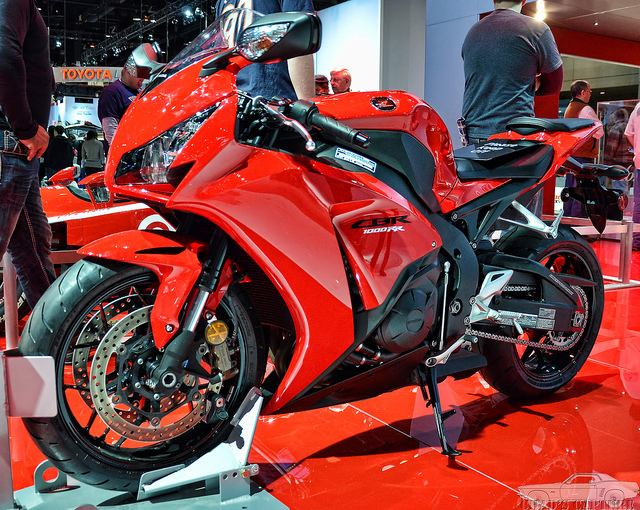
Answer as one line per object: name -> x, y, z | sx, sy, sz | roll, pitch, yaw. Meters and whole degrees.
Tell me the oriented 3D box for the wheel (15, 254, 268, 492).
wheel -> -0.581, 0.418, 1.660 | 0.788, 0.842, 0.295 | -5, 10, -31
